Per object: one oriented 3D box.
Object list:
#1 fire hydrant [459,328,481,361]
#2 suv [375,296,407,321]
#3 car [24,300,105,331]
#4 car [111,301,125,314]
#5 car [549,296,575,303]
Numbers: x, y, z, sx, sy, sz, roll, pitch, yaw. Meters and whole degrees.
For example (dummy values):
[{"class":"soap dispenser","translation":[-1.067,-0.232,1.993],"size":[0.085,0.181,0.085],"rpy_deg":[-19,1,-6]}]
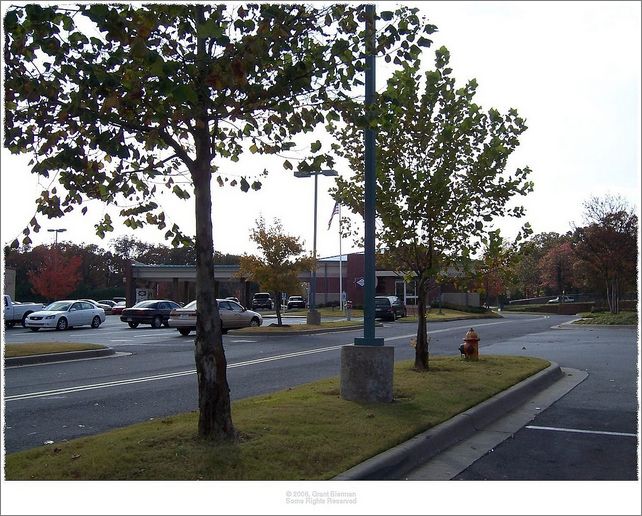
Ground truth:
[{"class":"fire hydrant","translation":[3.552,2.119,14.635],"size":[0.362,0.824,0.440],"rpy_deg":[-5,3,-15]},{"class":"suv","translation":[4.525,3.314,40.493],"size":[1.290,1.214,3.249],"rpy_deg":[-2,1,21]},{"class":"car","translation":[-12.400,2.797,30.133],"size":[1.072,1.430,4.385],"rpy_deg":[-3,-4,17]},{"class":"car","translation":[-17.648,4.326,53.839],"size":[1.093,0.981,2.679],"rpy_deg":[2,4,-2]},{"class":"car","translation":[34.030,5.816,87.186],"size":[2.413,1.313,1.613],"rpy_deg":[-2,-2,-5]}]
